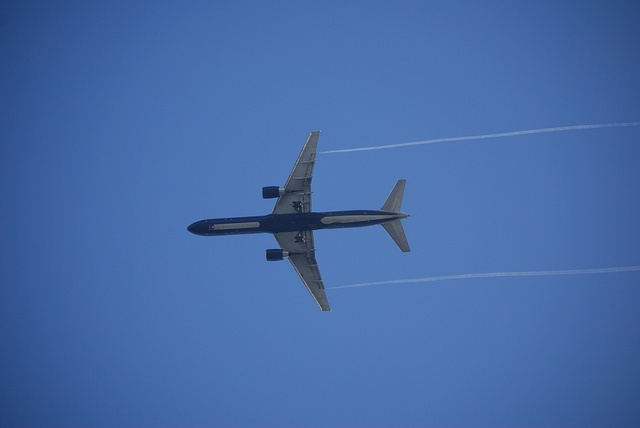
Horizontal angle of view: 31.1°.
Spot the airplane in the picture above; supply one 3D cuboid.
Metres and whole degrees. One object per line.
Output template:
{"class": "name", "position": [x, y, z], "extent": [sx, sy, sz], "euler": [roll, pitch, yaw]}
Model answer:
{"class": "airplane", "position": [-1.480, -0.179, 68.050], "extent": [13.393, 10.997, 3.834], "euler": [-3, -34, 3]}
